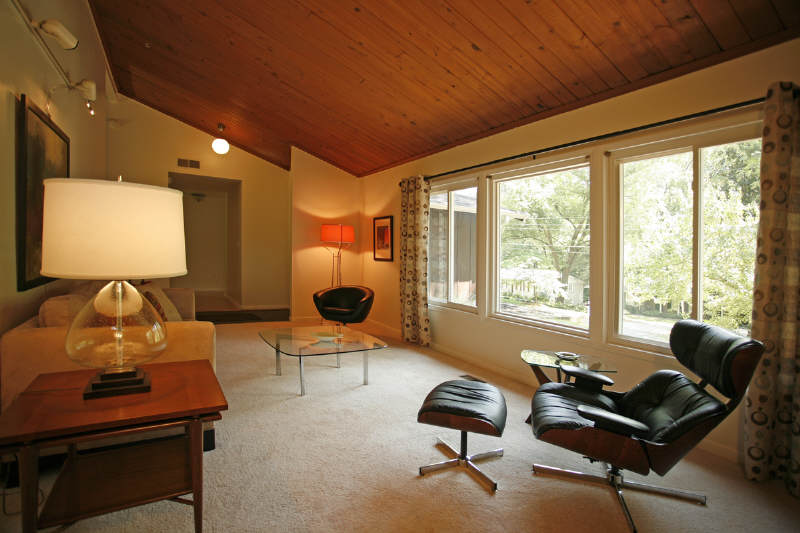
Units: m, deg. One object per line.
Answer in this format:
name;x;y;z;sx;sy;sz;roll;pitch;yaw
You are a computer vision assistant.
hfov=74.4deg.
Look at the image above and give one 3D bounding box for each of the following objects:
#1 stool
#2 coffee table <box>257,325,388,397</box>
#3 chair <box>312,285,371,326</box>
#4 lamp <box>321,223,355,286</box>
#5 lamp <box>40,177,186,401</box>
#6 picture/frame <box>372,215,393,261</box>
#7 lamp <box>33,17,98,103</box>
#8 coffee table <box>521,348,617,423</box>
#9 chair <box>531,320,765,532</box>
stool;0.492;1.226;3.971;0.740;0.575;0.663;0;3;8
coffee table;-0.879;0.947;5.505;1.116;0.522;1.332;2;3;-19
chair;-0.735;0.474;7.081;0.879;0.608;0.527;-1;-11;23
lamp;-0.988;-0.189;8.304;0.505;0.997;0.603;3;3;-5
lamp;-1.727;0.145;3.185;0.772;1.324;0.377;2;4;-26
picture/frame;-0.239;-0.430;7.830;0.056;0.728;0.713;2;-3;-26
lamp;-2.805;-1.804;4.465;0.368;0.632;1.528;2;3;-28
coffee table;1.341;0.923;4.097;0.591;0.376;0.334;6;12;33
chair;1.623;0.923;4.108;1.470;1.432;1.516;4;-3;8
